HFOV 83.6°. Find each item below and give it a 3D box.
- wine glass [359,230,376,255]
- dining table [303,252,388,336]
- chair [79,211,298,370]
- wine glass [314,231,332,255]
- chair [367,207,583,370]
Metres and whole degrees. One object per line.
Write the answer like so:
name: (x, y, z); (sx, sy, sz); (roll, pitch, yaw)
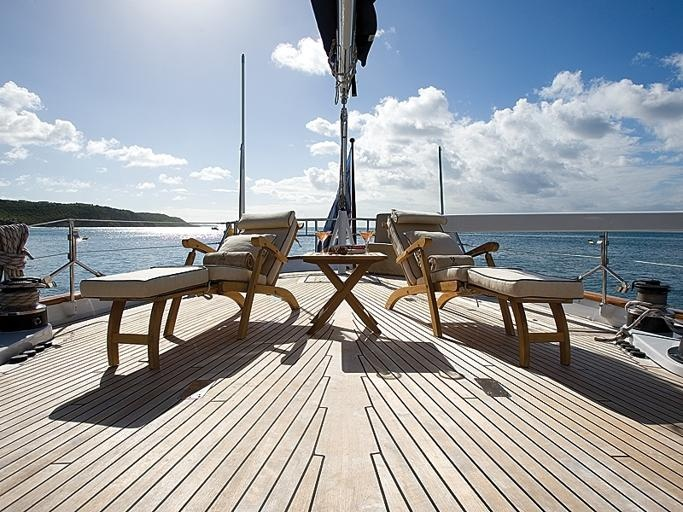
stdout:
wine glass: (0.266, -0.162, 4.467); (0.276, 0.287, 0.268); (-1, -1, -4)
dining table: (0.011, 0.297, 3.153); (0.681, 0.555, 0.640); (0, 1, -2)
chair: (-0.983, 0.126, 2.860); (0.768, 0.798, 1.560); (1, 6, 22)
wine glass: (-0.256, -0.187, 5.446); (0.384, 0.388, 0.386); (0, -2, -6)
chair: (0.930, 0.107, 2.976); (0.898, 0.980, 1.711); (0, 5, -6)
